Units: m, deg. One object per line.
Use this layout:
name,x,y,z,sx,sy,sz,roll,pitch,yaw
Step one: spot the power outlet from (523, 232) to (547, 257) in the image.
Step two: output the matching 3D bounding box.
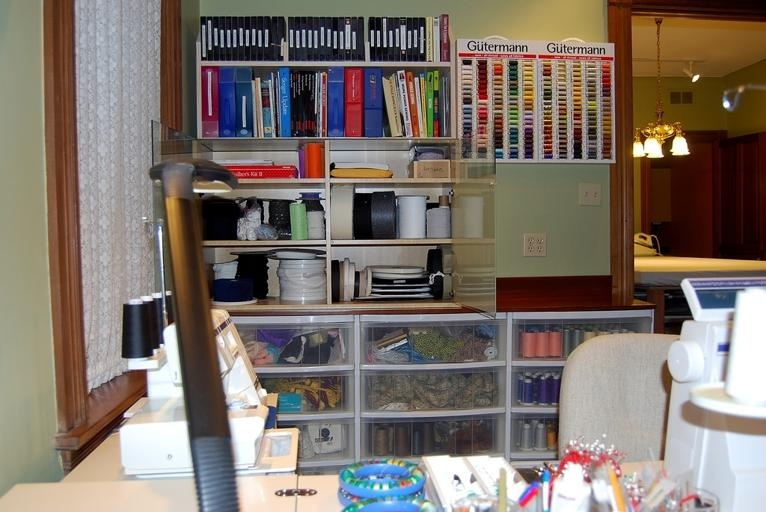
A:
power outlet,0.942,-0.073,4.158,0.154,0.134,0.038,3,4,-2

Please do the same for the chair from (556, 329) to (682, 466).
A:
chair,0.910,0.556,2.823,0.465,0.596,0.529,1,0,3
